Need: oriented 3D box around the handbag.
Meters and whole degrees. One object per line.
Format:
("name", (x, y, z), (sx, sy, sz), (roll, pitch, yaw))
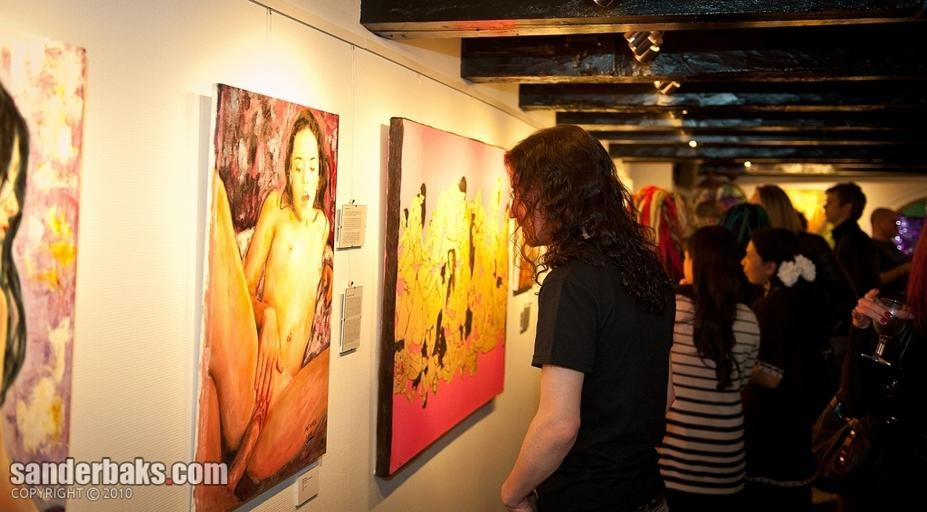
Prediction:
("handbag", (2.948, 1.457, 4.620), (0.244, 0.709, 0.421), (0, -3, -23))
